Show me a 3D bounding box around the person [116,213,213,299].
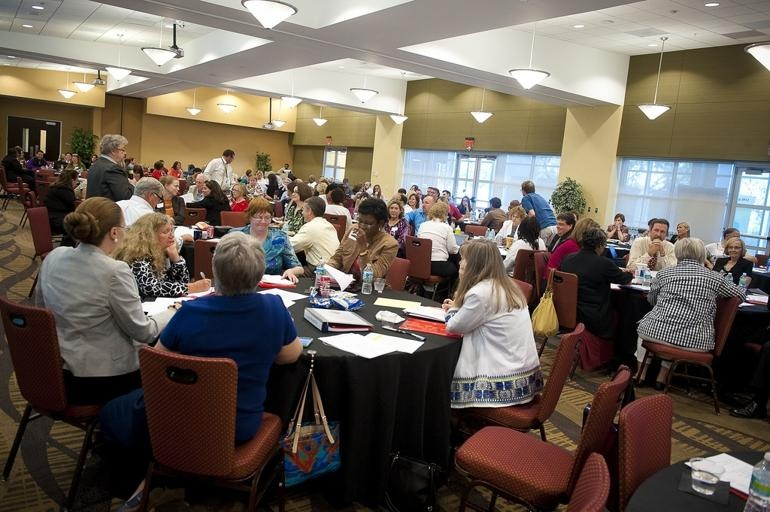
[{"bbox_3d":[-1.707,-0.015,3.530,0.752,0.573,0.487,4,10,-1],"label":"person"}]

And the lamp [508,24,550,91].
[{"bbox_3d":[2.694,-3.667,8.541,0.586,1.285,2.027,5,9,16],"label":"lamp"}]

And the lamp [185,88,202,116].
[{"bbox_3d":[-7.564,-6.176,18.426,0.535,1.031,0.879,-1,9,-23],"label":"lamp"}]

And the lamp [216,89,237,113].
[{"bbox_3d":[-6.179,-6.209,18.236,0.799,1.019,2.388,0,9,-19],"label":"lamp"}]

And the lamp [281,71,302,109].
[{"bbox_3d":[-2.743,-4.936,13.949,0.548,0.754,1.084,1,8,-8],"label":"lamp"}]

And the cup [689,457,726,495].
[{"bbox_3d":[1.375,0.946,1.997,0.119,0.095,0.135,4,-2,-4],"label":"cup"}]

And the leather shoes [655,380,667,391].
[{"bbox_3d":[2.849,1.330,4.768,0.119,0.117,0.210,2,-9,28],"label":"leather shoes"}]

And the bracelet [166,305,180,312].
[{"bbox_3d":[-1.355,0.330,3.005,0.081,0.033,0.061,3,3,44],"label":"bracelet"}]

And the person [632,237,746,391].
[{"bbox_3d":[3.004,0.559,4.743,0.924,1.453,0.863,7,-3,-4],"label":"person"}]

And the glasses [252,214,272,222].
[{"bbox_3d":[-1.106,-0.341,4.212,0.191,0.074,0.165,-2,10,-30],"label":"glasses"}]

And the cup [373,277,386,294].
[{"bbox_3d":[-0.036,0.257,3.966,0.104,0.121,0.106,-1,2,0],"label":"cup"}]

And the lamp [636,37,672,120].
[{"bbox_3d":[5.555,-3.552,9.401,0.535,1.447,1.119,7,10,30],"label":"lamp"}]

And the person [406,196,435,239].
[{"bbox_3d":[0.566,-0.592,7.961,0.419,0.896,0.286,-1,43,-3],"label":"person"}]

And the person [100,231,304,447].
[{"bbox_3d":[-0.973,0.529,2.783,0.975,1.277,0.970,7,2,22],"label":"person"}]

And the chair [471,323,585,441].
[{"bbox_3d":[1.028,0.746,3.442,0.744,1.074,0.660,9,6,24],"label":"chair"}]

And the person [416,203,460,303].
[{"bbox_3d":[0.798,-0.051,6.723,0.664,1.508,0.800,13,15,41],"label":"person"}]

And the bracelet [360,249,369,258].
[{"bbox_3d":[-0.179,-0.025,4.277,0.067,0.042,0.050,-19,3,0],"label":"bracelet"}]

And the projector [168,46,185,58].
[{"bbox_3d":[-4.049,-4.002,9.032,0.188,0.218,0.510,0,9,-17],"label":"projector"}]

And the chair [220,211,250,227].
[{"bbox_3d":[-2.021,-0.507,6.259,0.416,0.283,0.228,1,5,0],"label":"chair"}]

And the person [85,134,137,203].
[{"bbox_3d":[-3.115,-1.018,5.280,0.639,0.748,0.376,11,12,43],"label":"person"}]

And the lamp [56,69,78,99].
[{"bbox_3d":[-11.267,-6.143,16.506,0.546,0.975,0.895,-4,10,-34],"label":"lamp"}]

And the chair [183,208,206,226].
[{"bbox_3d":[-2.787,-0.574,6.804,0.216,0.387,0.259,-2,11,-26],"label":"chair"}]

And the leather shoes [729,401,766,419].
[{"bbox_3d":[3.510,1.479,4.502,0.399,0.168,0.138,1,-5,2],"label":"leather shoes"}]

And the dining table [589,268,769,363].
[{"bbox_3d":[2.983,0.580,4.705,0.826,0.939,0.968,11,-1,17],"label":"dining table"}]

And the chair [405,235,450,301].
[{"bbox_3d":[0.602,0.218,6.530,0.541,1.042,0.599,13,17,37],"label":"chair"}]

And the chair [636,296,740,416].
[{"bbox_3d":[2.997,0.908,4.623,0.767,1.090,0.693,1,9,-1],"label":"chair"}]

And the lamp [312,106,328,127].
[{"bbox_3d":[-2.593,-5.807,19.034,0.574,0.846,1.666,1,8,-9],"label":"lamp"}]

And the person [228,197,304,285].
[{"bbox_3d":[-1.138,-0.096,4.281,0.602,0.863,0.580,-3,15,-25],"label":"person"}]
